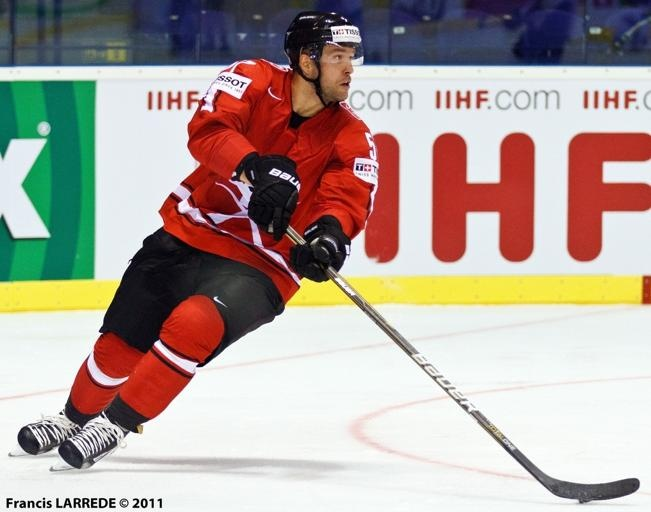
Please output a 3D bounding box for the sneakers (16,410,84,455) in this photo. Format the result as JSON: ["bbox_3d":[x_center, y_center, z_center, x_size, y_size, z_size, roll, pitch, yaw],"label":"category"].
[{"bbox_3d":[-1.030,0.680,3.470,0.113,0.115,0.306,10,2,29],"label":"sneakers"}]

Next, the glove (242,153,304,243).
[{"bbox_3d":[-0.231,-0.212,3.289,0.246,0.142,0.322,17,-32,-15],"label":"glove"}]

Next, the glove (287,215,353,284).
[{"bbox_3d":[-0.017,-0.034,3.263,0.124,0.184,0.256,11,-26,-35],"label":"glove"}]

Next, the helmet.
[{"bbox_3d":[-0.020,-0.847,3.510,0.286,0.203,0.217,2,0,17],"label":"helmet"}]
